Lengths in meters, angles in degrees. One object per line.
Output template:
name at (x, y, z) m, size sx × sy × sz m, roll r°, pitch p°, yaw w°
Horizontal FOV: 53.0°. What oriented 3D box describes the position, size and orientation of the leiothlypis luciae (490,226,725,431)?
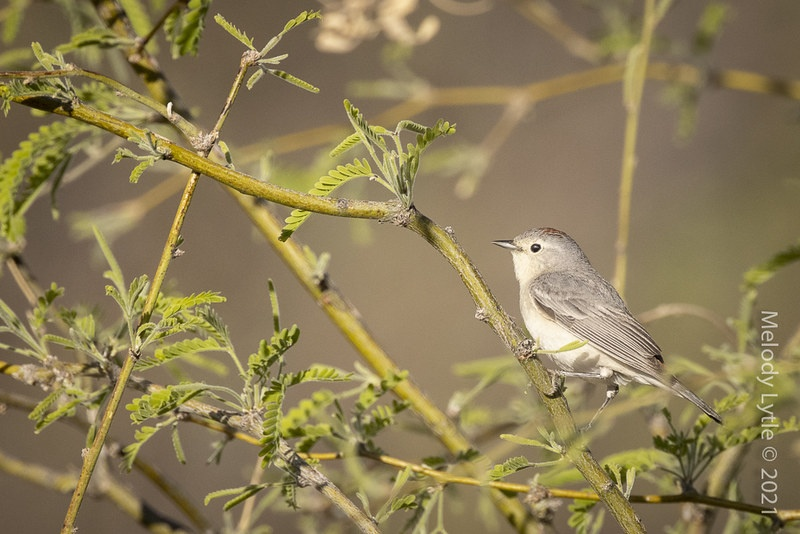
leiothlypis luciae at (1.202, 0.242, 4.263) m, size 0.544 × 1.602 × 1.052 m, roll -3°, pitch -81°, yaw -47°
